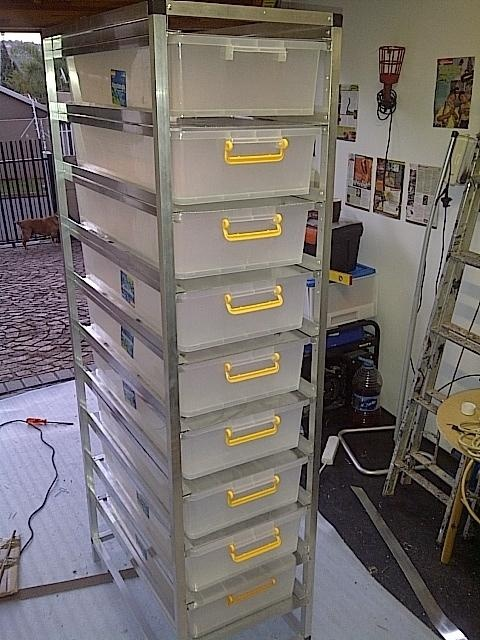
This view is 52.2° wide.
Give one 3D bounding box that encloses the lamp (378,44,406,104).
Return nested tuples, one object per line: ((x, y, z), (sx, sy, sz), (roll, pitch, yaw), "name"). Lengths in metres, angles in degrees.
((0.777, -1.281, 2.557), (0.132, 0.262, 0.101), (8, 21, 13), "lamp")

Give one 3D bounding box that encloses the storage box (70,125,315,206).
((-0.075, -0.299, 0.951), (0.202, 0.082, 0.335), (-10, 24, -32), "storage box")

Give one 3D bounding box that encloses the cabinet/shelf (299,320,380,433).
((0.672, 0.312, 3.086), (0.481, 0.609, 0.436), (-10, -8, 14), "cabinet/shelf")

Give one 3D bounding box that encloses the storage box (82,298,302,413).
((-0.118, 0.032, 1.206), (0.228, 0.093, 0.379), (-7, 21, -32), "storage box")

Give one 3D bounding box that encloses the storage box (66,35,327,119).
((-0.101, -0.516, 1.065), (0.386, 0.140, 0.627), (-10, 26, -31), "storage box")

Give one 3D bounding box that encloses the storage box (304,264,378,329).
((0.555, -0.171, 2.957), (0.443, 0.295, 0.447), (-6, 15, -29), "storage box")

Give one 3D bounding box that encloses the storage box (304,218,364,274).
((0.531, -0.452, 2.979), (0.394, 0.292, 0.395), (-1, 4, -38), "storage box")
